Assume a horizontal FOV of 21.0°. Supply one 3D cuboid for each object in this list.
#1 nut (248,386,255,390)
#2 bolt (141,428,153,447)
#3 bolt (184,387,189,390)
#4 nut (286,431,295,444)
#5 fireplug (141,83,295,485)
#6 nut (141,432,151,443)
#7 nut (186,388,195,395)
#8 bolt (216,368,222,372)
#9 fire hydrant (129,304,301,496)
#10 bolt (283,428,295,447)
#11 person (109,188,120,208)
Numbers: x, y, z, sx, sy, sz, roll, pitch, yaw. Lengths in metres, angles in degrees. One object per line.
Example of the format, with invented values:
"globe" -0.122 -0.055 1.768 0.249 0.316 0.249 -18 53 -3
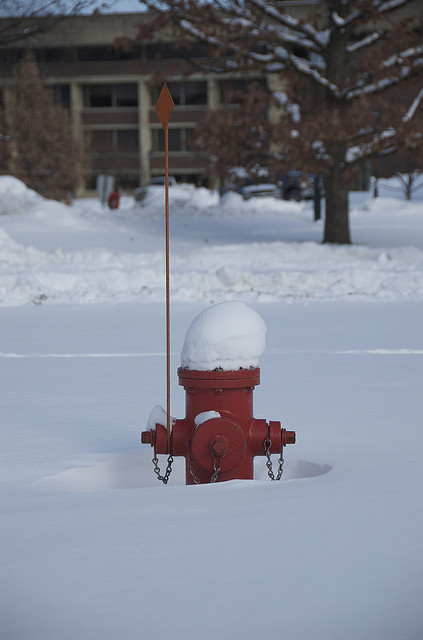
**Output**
"nut" 0.206 0.359 5.960 0.023 0.026 0.023 -4 -2 7
"bolt" -0.334 0.627 5.946 0.058 0.078 0.050 1 0 -1
"bolt" -0.129 0.356 5.934 0.019 0.013 0.023 0 33 8
"nut" 0.409 0.608 5.911 0.054 0.068 0.047 -1 -1 0
"fireplug" 0.024 -0.143 6.023 0.792 2.195 0.954 0 6 -4
"nut" -0.339 0.609 5.904 0.042 0.052 0.043 1 0 4
"nut" -0.106 0.368 5.923 0.022 0.047 0.040 3 -9 -25
"bolt" 0.040 0.257 5.834 0.021 0.026 0.013 -2 7 4
"fire hydrant" 0.059 0.367 6.199 0.737 1.466 0.853 0 1 9
"bolt" 0.405 0.608 5.916 0.059 0.099 0.070 0 4 4
"person" -2.837 -3.500 33.328 0.273 0.424 0.807 0 7 -4
